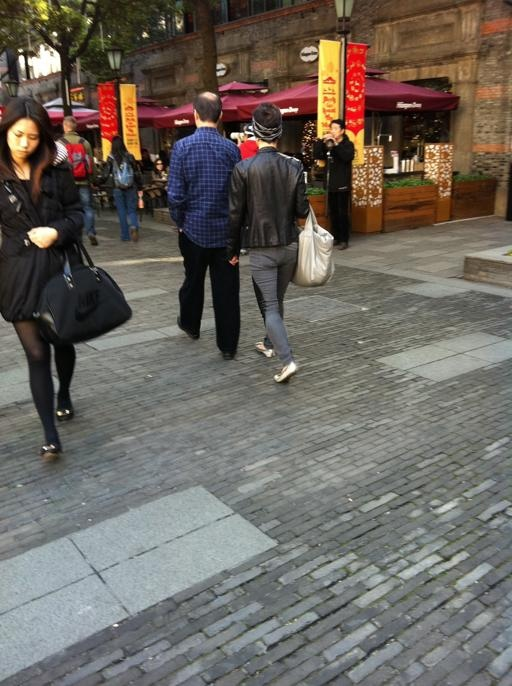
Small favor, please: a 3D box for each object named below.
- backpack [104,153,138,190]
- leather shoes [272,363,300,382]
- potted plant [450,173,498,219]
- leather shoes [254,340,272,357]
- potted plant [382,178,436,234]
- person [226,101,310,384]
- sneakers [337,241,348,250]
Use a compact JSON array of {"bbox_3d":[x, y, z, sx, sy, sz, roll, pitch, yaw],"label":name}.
[{"bbox_3d":[-2.752,-3.516,10.661,0.637,0.698,0.379,-1,12,0],"label":"backpack"},{"bbox_3d":[0.230,0.236,4.064,0.260,0.096,0.094,-36,-19,23],"label":"leather shoes"},{"bbox_3d":[5.699,-3.857,13.706,1.481,0.844,0.756,-14,26,-27],"label":"potted plant"},{"bbox_3d":[0.071,0.057,4.841,0.179,0.087,0.076,44,13,16],"label":"leather shoes"},{"bbox_3d":[3.464,-3.144,11.902,1.440,0.817,0.722,-13,27,-22],"label":"potted plant"},{"bbox_3d":[0.059,-0.761,4.062,0.657,2.097,0.434,4,13,22],"label":"person"},{"bbox_3d":[1.645,-1.860,9.927,0.111,0.097,0.277,2,7,19],"label":"sneakers"}]
